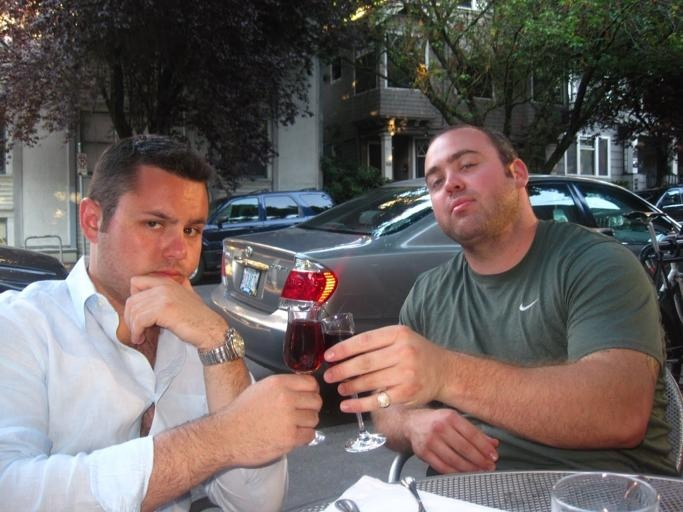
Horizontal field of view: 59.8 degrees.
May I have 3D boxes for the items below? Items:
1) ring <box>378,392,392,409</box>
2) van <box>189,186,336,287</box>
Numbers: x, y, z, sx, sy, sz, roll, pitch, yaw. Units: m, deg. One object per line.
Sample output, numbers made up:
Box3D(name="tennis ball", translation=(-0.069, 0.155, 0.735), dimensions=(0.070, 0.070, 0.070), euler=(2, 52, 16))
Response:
Box3D(name="ring", translation=(0.146, 0.487, 2.044), dimensions=(0.039, 0.055, 0.022), euler=(-3, 21, 47))
Box3D(name="van", translation=(-1.751, -0.574, 12.870), dimensions=(3.146, 1.517, 1.436), euler=(-2, 2, -30))
